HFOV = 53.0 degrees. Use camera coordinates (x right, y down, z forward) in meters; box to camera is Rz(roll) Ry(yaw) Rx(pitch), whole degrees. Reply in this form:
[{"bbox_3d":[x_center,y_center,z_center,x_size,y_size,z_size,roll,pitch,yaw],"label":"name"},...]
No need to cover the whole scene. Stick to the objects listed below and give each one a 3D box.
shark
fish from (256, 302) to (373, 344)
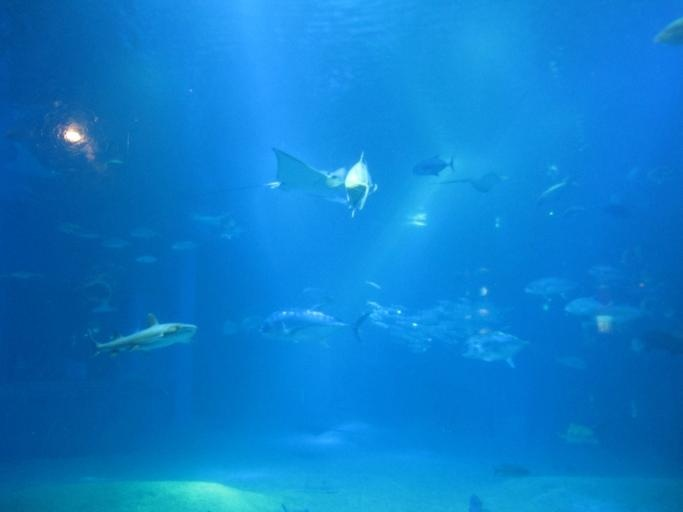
[{"bbox_3d":[-3.943,1.506,14.220,1.879,0.783,0.522,-9,-46,5],"label":"shark"},{"bbox_3d":[-0.837,1.970,19.231,3.015,0.516,1.134,1,-85,-3],"label":"fish"}]
